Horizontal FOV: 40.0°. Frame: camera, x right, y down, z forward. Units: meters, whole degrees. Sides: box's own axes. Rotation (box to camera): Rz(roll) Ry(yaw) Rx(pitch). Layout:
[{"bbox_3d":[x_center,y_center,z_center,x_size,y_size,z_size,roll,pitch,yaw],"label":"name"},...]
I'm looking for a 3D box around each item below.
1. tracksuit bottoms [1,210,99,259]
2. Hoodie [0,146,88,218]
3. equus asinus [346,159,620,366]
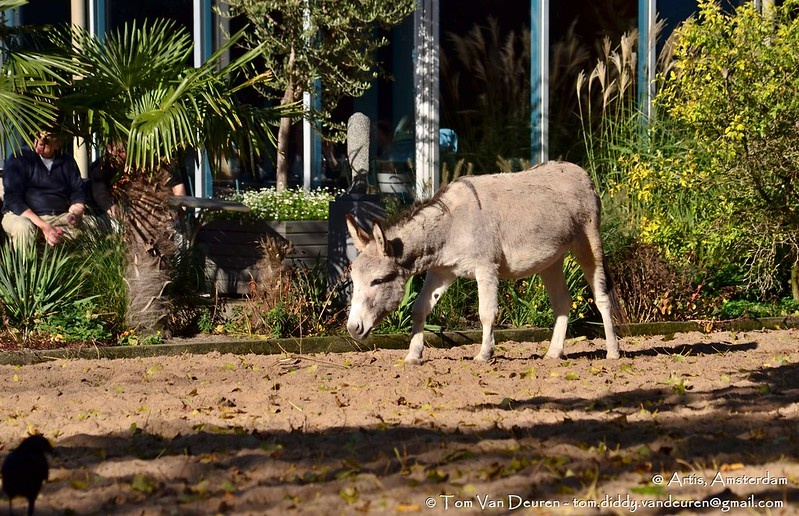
[{"bbox_3d":[-4.348,-0.312,13.139,0.671,0.277,0.677,-11,4,-33],"label":"tracksuit bottoms"},{"bbox_3d":[-4.467,-0.827,13.706,1.112,1.052,0.694,0,-2,-31],"label":"Hoodie"},{"bbox_3d":[0.915,0.072,11.837,3.047,2.153,0.504,-2,5,-18],"label":"equus asinus"}]
